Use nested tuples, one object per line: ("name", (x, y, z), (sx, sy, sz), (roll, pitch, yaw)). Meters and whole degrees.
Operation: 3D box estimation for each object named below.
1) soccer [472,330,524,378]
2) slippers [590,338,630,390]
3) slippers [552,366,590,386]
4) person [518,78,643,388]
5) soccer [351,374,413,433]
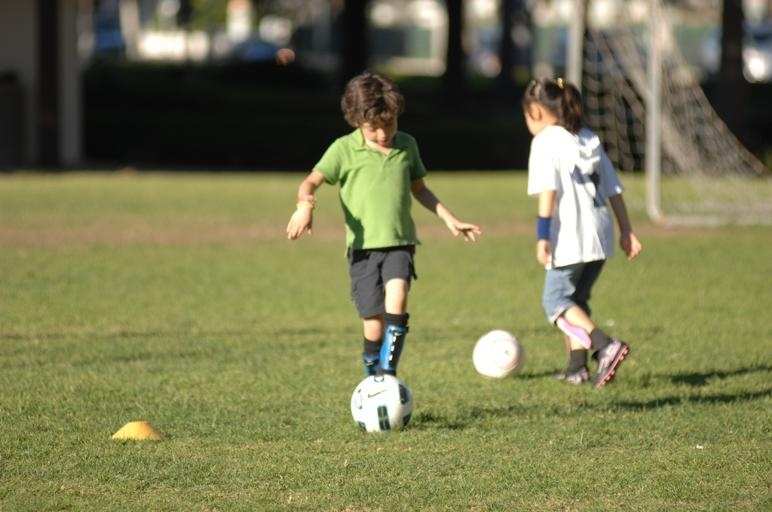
("soccer", (1.143, 1.037, 13.982), (0.413, 0.470, 0.241), (4, -6, 5))
("slippers", (2.227, 1.069, 13.429), (0.263, 0.582, 0.214), (14, 34, -3))
("slippers", (1.903, 1.239, 13.823), (0.376, 0.180, 0.142), (5, -1, 31))
("person", (1.955, -0.260, 13.654), (1.012, 3.097, 1.188), (-3, 0, 21))
("soccer", (-0.008, 1.567, 13.163), (0.649, 0.726, 0.660), (-4, -5, -10))
